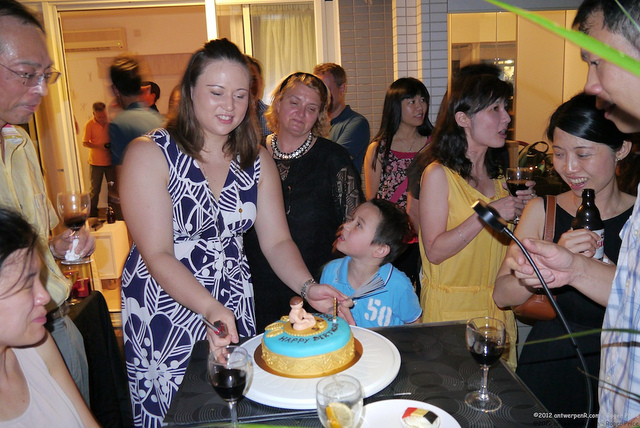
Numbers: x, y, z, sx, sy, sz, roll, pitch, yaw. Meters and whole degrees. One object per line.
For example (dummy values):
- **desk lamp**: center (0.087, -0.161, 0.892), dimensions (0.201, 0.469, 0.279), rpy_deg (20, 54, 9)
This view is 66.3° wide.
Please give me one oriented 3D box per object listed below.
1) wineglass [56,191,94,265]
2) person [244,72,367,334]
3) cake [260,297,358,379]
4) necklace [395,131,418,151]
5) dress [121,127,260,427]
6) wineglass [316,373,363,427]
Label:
- **wineglass**: center (-1.404, -0.013, 2.811), dimensions (0.173, 0.232, 0.336), rpy_deg (-11, 17, -26)
- **person**: center (-0.194, 0.055, 3.472), dimensions (0.946, 1.921, 0.616), rpy_deg (0, 23, -3)
- **cake**: center (-0.056, 0.501, 2.131), dimensions (0.411, 0.250, 0.402), rpy_deg (-13, 13, -40)
- **necklace**: center (0.751, -0.626, 4.255), dimensions (0.176, 0.197, 0.033), rpy_deg (2, -29, -5)
- **dress**: center (-0.632, 0.303, 2.469), dimensions (0.783, 1.450, 0.404), rpy_deg (-8, 16, -15)
- **wineglass**: center (0.070, 0.661, 1.751), dimensions (0.153, 0.174, 0.155), rpy_deg (-2, 1, -3)
